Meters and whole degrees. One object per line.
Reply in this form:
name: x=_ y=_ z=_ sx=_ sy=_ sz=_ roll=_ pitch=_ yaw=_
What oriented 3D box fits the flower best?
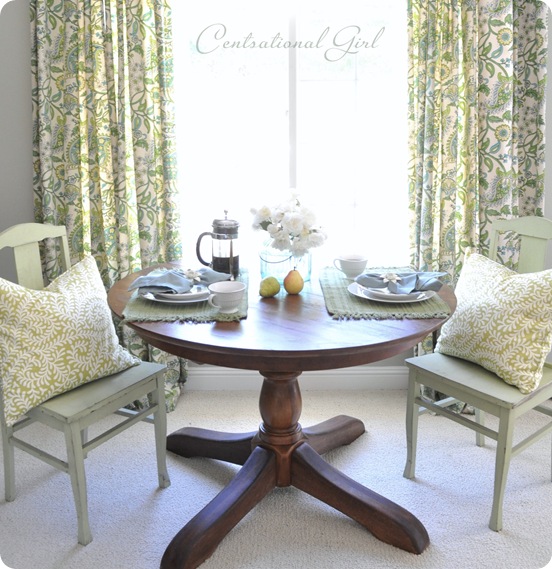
flower: x=0.040 y=-0.192 z=1.862 sx=0.221 sy=0.200 sz=0.152 roll=3 pitch=17 yaw=12

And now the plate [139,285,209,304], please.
plate: x=-0.330 y=0.038 z=1.799 sx=0.224 sy=0.046 sz=0.124 roll=-4 pitch=12 yaw=-9

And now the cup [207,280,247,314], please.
cup: x=-0.147 y=0.039 z=1.696 sx=0.114 sy=0.065 sz=0.097 roll=1 pitch=17 yaw=39

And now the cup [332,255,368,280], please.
cup: x=0.285 y=-0.063 z=2.085 sx=0.100 sy=0.067 sz=0.104 roll=-1 pitch=7 yaw=0

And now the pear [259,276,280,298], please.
pear: x=-0.020 y=0.007 z=1.891 sx=0.078 sy=0.056 sz=0.059 roll=-29 pitch=17 yaw=-25

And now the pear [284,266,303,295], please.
pear: x=0.063 y=-0.002 z=1.904 sx=0.090 sy=0.106 sz=0.081 roll=-1 pitch=-1 yaw=5

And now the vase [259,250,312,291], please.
vase: x=0.032 y=-0.052 z=1.959 sx=0.165 sy=0.087 sz=0.149 roll=1 pitch=6 yaw=1

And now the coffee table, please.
coffee table: x=-0.051 y=0.420 z=2.065 sx=1.183 sy=0.648 sz=1.057 roll=-1 pitch=13 yaw=-5
